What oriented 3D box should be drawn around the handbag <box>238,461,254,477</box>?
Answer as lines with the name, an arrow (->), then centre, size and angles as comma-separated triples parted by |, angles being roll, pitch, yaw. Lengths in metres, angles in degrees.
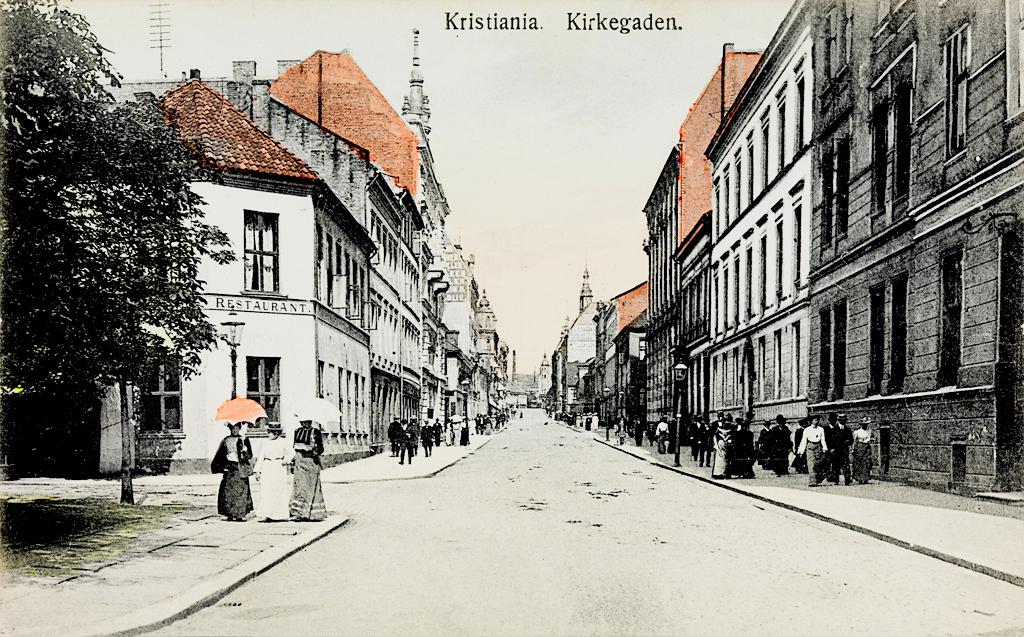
handbag -> -5.931, 3.363, 25.250 | 0.277, 0.305, 0.291 | 3, 3, 44

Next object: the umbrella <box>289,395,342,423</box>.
umbrella -> -4.600, 2.142, 26.433 | 1.024, 0.626, 0.819 | 3, -11, -13

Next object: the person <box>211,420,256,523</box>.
person -> -6.244, 3.400, 25.261 | 0.876, 2.206, 0.777 | 3, -10, -14

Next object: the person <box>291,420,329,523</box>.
person -> -4.663, 3.461, 25.901 | 0.770, 2.333, 1.112 | 2, -10, -11
